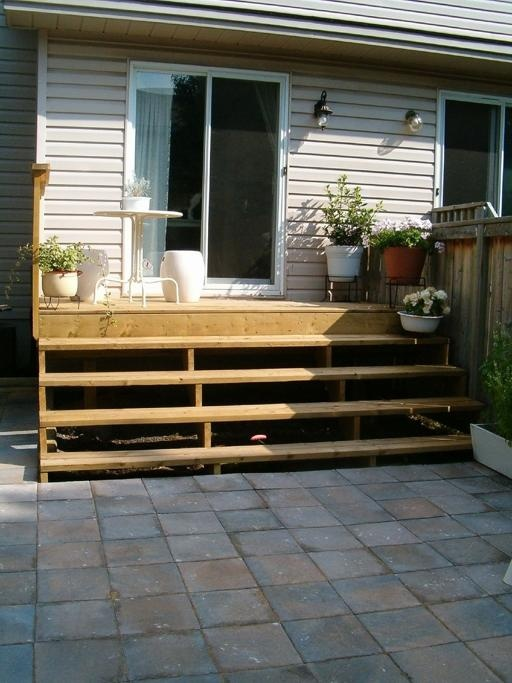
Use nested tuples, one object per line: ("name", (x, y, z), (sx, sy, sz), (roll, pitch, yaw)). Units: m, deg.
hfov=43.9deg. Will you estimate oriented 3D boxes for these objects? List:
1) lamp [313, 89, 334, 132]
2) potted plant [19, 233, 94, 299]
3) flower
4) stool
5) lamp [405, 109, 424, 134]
("lamp", (0.645, -2.197, 5.933), (0.196, 0.361, 0.179), (1, 4, -13))
("potted plant", (-1.404, -0.498, 4.622), (0.359, 0.335, 0.460), (0, 5, 33))
("flower", (1.043, -0.625, 5.300), (0.922, 1.022, 0.751), (0, 1, -4))
("stool", (-0.813, -0.503, 4.959), (0.780, 0.287, 0.529), (-1, 2, -12))
("lamp", (1.534, -2.159, 6.242), (0.172, 0.209, 0.212), (1, -14, -18))
